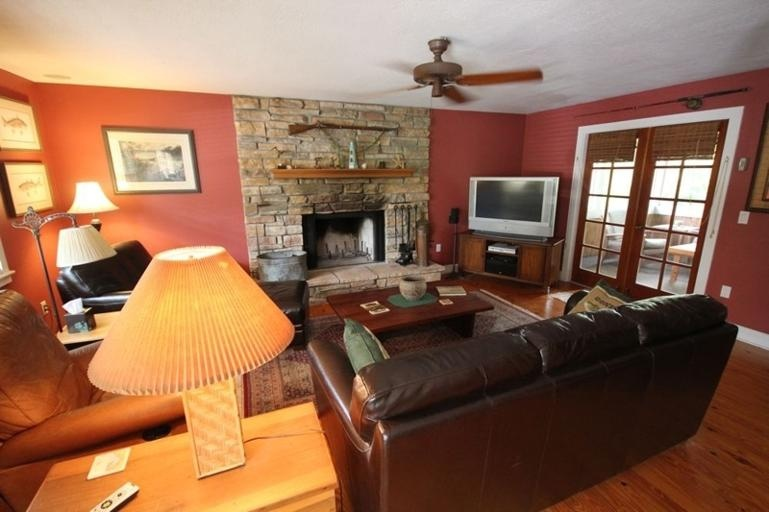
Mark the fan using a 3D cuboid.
[{"bbox_3d":[0.628,-1.686,4.452,1.238,0.440,1.520,0,12,-1],"label":"fan"}]

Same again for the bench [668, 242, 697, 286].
[{"bbox_3d":[3.437,0.049,5.267,0.412,0.370,0.394,3,13,31],"label":"bench"}]

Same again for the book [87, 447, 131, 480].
[{"bbox_3d":[-1.603,1.222,2.778,0.256,0.023,0.196,-25,24,-28],"label":"book"}]

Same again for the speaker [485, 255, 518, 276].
[{"bbox_3d":[1.560,0.115,6.248,0.291,0.227,0.406,-8,8,-40],"label":"speaker"}]

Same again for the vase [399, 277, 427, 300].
[{"bbox_3d":[0.285,0.311,4.681,0.262,0.154,0.240,1,2,12],"label":"vase"}]

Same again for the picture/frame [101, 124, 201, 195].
[{"bbox_3d":[-2.553,-1.060,5.102,0.961,0.685,0.087,-5,15,-23],"label":"picture/frame"}]

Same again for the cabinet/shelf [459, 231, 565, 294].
[{"bbox_3d":[1.599,0.052,6.395,1.395,0.561,0.472,7,13,18],"label":"cabinet/shelf"}]

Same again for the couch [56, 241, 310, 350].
[{"bbox_3d":[-1.936,0.509,4.725,1.934,0.942,1.273,-3,14,-15],"label":"couch"}]

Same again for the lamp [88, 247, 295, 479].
[{"bbox_3d":[-1.032,0.620,2.623,1.024,1.316,0.431,-7,17,-24],"label":"lamp"}]
